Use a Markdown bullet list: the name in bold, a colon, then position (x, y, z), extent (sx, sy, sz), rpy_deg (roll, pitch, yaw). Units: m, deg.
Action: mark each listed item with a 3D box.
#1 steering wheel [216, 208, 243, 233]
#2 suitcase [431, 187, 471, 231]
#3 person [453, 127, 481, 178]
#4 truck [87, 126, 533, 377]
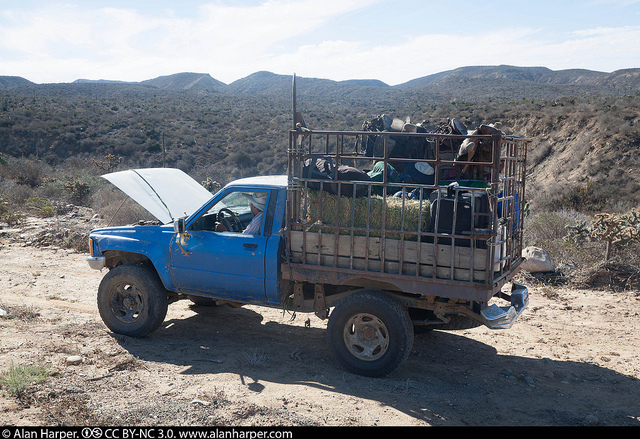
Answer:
- **steering wheel**: position (-1.588, 0.007, 8.408), extent (0.140, 0.408, 0.443), rpy_deg (-28, -10, 19)
- **suitcase**: position (1.856, -0.143, 7.016), extent (0.642, 0.679, 0.367), rpy_deg (1, 2, 15)
- **person**: position (2.331, -1.081, 8.004), extent (0.298, 0.815, 0.280), rpy_deg (14, -6, -13)
- **truck**: position (-0.217, 0.108, 9.074), extent (7.137, 3.535, 3.863), rpy_deg (4, 8, 19)
